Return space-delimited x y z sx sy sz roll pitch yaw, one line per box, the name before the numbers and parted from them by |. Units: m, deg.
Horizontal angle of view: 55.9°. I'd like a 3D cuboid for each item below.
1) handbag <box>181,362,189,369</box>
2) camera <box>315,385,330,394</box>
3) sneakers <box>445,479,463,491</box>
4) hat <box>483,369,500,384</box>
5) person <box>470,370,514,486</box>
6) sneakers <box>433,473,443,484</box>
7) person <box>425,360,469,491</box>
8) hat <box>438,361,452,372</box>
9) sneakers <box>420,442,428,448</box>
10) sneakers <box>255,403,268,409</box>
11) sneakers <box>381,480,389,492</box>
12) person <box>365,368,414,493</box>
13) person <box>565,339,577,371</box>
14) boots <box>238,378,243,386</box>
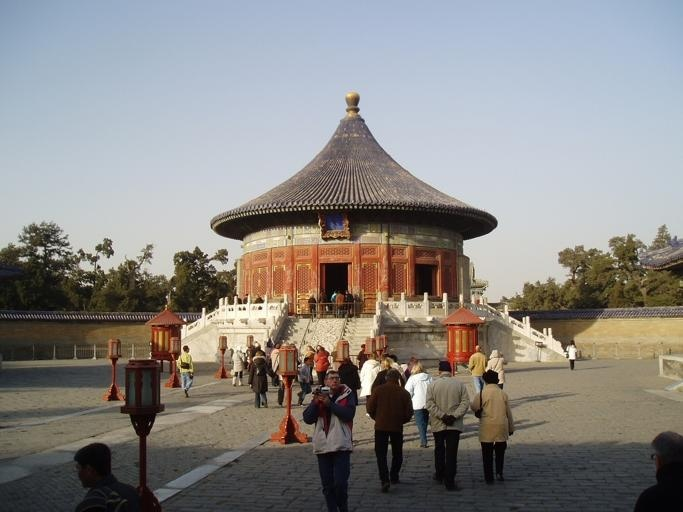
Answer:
handbag | -4.355 3.066 18.043 0.188 0.133 0.183 -1 -8 2
camera | -0.231 1.708 8.213 0.182 0.091 0.258 -1 -6 -3
sneakers | 1.604 3.266 9.187 0.261 0.176 0.106 -1 3 -42
hat | 2.254 1.809 9.655 0.215 0.076 0.209 1 3 23
person | 2.317 2.530 9.706 0.557 1.617 0.783 -3 -6 20
sneakers | 1.442 3.266 9.476 0.134 0.121 0.290 -2 -6 5
person | 1.622 2.520 9.675 0.638 1.662 1.157 -2 -6 10
hat | 1.706 1.784 10.381 0.218 0.189 0.157 -1 0 -3
sneakers | 1.530 3.453 11.756 0.060 0.073 0.172 1 -15 -9
sneakers | -1.985 3.780 16.242 0.144 0.109 0.213 4 -13 -43
sneakers | 0.624 3.218 8.998 0.087 0.083 0.198 1 -21 -4
person | 0.684 2.540 9.613 0.648 1.614 1.178 -4 -6 23
person | 9.517 4.100 26.418 0.280 1.114 1.270 -3 -6 19
boots | -3.358 4.225 21.502 0.261 0.245 0.227 1 -9 -6
